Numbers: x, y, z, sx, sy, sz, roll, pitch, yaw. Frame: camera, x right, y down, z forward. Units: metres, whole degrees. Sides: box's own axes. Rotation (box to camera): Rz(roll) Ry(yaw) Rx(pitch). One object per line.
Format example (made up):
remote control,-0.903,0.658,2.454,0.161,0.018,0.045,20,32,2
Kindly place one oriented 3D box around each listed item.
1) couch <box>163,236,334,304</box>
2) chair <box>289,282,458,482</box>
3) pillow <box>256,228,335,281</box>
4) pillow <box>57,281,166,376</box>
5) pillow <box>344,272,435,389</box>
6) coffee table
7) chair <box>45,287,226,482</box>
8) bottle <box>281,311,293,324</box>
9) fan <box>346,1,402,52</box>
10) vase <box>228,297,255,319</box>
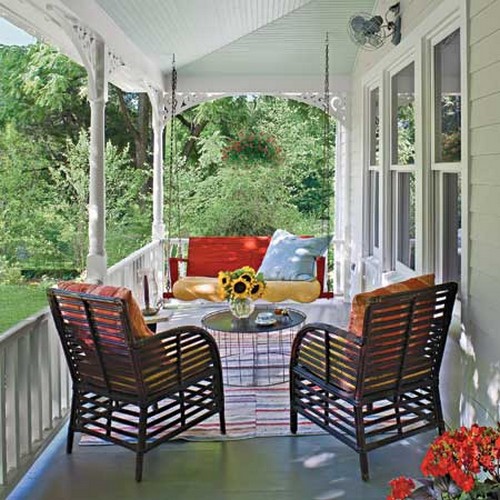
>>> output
couch,-0.323,0.013,5.589,1.985,0.834,0.698,-1,2,1
chair,0.634,0.614,2.565,0.613,0.965,0.686,-4,8,-29
pillow,0.458,0.062,5.239,0.640,0.583,0.184,4,-28,35
pillow,-0.736,0.381,2.368,0.484,0.403,0.180,4,21,30
pillow,0.702,0.321,2.423,0.536,0.334,0.336,-1,3,-29
coffee table,0.037,0.773,3.944,0.735,0.350,0.683,0,2,-1
chair,-0.677,0.553,2.720,0.903,0.980,0.821,2,4,35
bottle,0.268,0.513,3.598,0.082,0.074,0.075,0,3,19
fan,1.033,-1.893,3.945,0.413,0.470,0.595,2,7,10
vase,-0.061,0.444,3.603,0.182,0.123,0.176,2,-8,-9
